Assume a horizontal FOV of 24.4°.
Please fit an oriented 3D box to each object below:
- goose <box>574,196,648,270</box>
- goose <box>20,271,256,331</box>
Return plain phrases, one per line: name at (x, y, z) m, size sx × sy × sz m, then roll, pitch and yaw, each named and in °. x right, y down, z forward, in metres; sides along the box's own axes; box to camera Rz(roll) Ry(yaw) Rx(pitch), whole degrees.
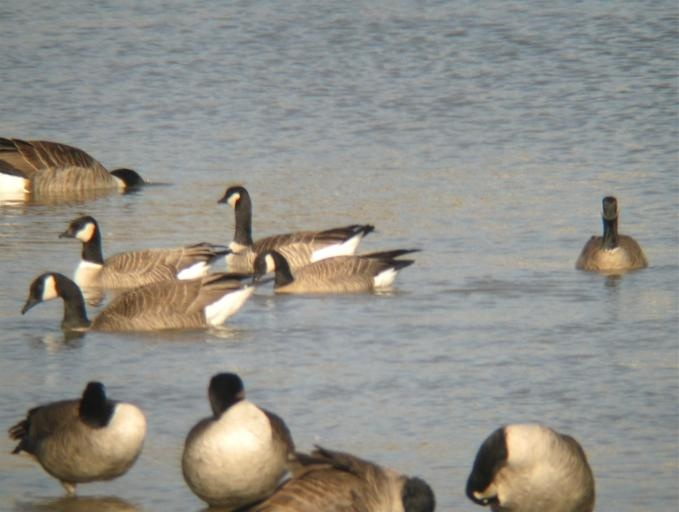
goose at (7.042, -0.534, 40.864) m, size 1.973 × 1.991 × 2.346 m, roll -3°, pitch 4°, yaw 8°
goose at (-4.720, 1.077, 37.227) m, size 5.031 × 1.716 × 1.379 m, roll 1°, pitch -4°, yaw -5°
